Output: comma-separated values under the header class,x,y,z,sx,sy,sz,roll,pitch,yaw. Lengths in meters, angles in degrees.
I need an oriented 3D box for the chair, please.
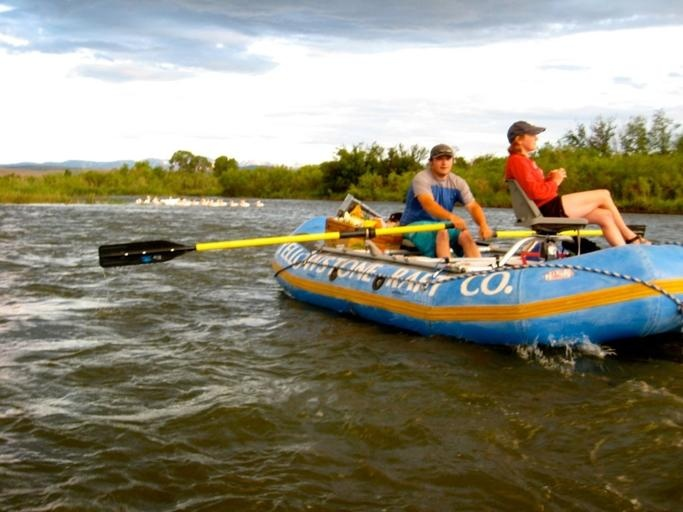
class,x,y,z,sx,sy,sz,roll,pitch,yaw
chair,2.079,-0.406,6.232,0.940,0.481,0.518,5,-6,-5
